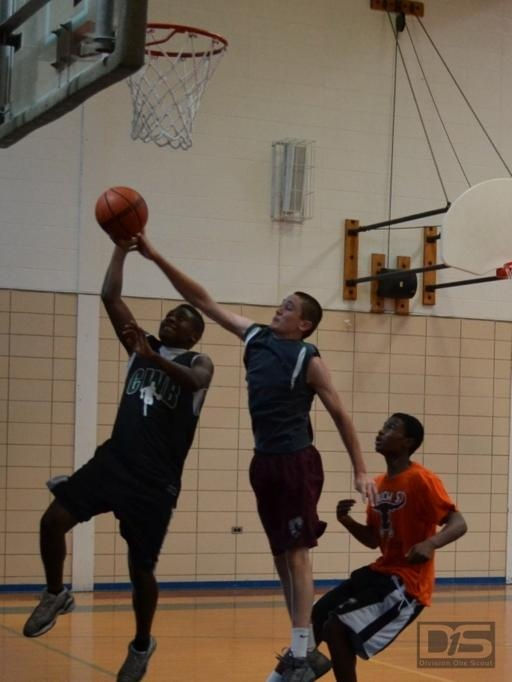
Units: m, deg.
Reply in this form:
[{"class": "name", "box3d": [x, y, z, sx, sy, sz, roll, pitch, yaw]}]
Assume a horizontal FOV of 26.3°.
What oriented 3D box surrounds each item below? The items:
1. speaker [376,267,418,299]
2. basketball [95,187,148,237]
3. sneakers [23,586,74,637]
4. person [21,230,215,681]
[{"class": "speaker", "box3d": [1.273, -0.556, 9.926, 0.371, 0.285, 0.738, 3, -5, 7]}, {"class": "basketball", "box3d": [-0.735, -0.675, 5.810, 0.286, 0.302, 0.270, -12, 5, -10]}, {"class": "sneakers", "box3d": [-1.097, 1.422, 5.757, 0.165, 0.260, 0.328, 1, -6, 30]}, {"class": "person", "box3d": [-0.679, 0.629, 5.730, 0.820, 2.301, 0.675, 6, -6, -19]}]
